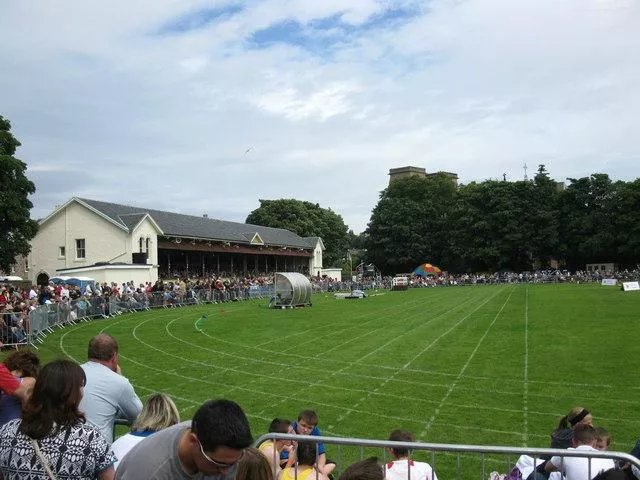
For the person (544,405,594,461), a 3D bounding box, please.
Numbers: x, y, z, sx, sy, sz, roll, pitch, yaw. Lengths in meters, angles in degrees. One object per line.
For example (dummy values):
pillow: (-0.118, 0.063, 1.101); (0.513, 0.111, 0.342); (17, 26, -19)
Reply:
person: (3.581, 2.804, 7.868); (0.683, 0.495, 1.468); (11, -8, 14)
